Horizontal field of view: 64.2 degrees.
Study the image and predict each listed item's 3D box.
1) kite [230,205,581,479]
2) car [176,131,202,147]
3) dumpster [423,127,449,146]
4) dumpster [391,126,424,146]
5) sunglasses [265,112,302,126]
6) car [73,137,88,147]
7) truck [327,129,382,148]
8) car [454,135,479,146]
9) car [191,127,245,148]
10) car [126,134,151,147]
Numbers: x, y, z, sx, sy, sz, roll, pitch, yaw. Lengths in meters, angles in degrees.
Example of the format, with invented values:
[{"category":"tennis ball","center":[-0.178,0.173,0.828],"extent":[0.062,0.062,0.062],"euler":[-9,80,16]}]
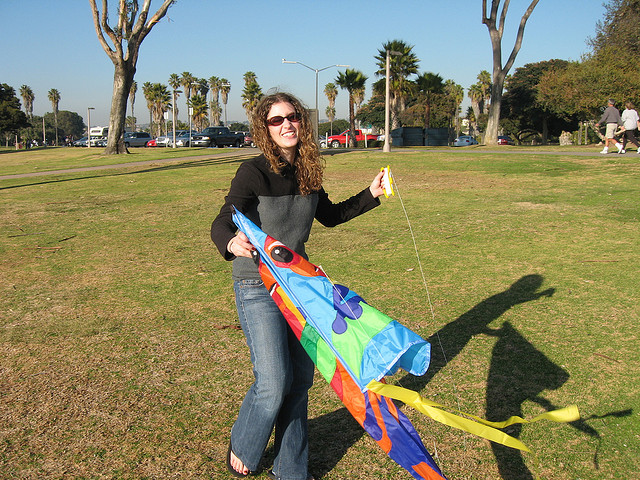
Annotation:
[{"category":"kite","center":[0.225,0.693,3.337],"extent":[1.012,0.629,2.575],"euler":[-28,60,-26]},{"category":"car","center":[-11.771,-9.214,46.422],"extent":[1.658,0.996,2.802],"euler":[2,5,42]},{"category":"dumpster","center":[9.913,-8.807,43.697],"extent":[2.115,1.320,0.550],"euler":[0,13,2]},{"category":"dumpster","center":[7.518,-8.753,43.867],"extent":[1.932,1.274,1.936],"euler":[0,13,4]},{"category":"sunglasses","center":[-0.250,-0.816,3.429],"extent":[0.242,0.081,0.088],"euler":[-1,14,-4]},{"category":"car","center":[-26.407,-10.608,55.974],"extent":[1.153,0.784,3.064],"euler":[-6,15,-23]},{"category":"truck","center":[3.566,-11.453,54.650],"extent":[6.052,2.414,2.746],"euler":[-2,5,-20]},{"category":"car","center":[15.288,-10.408,53.448],"extent":[1.457,1.085,3.183],"euler":[14,23,42]},{"category":"car","center":[-8.175,-8.471,42.583],"extent":[1.813,1.388,3.837],"euler":[6,9,41]},{"category":"car","center":[-17.981,-9.801,50.326],"extent":[2.556,1.172,1.476],"euler":[1,2,-18]}]
